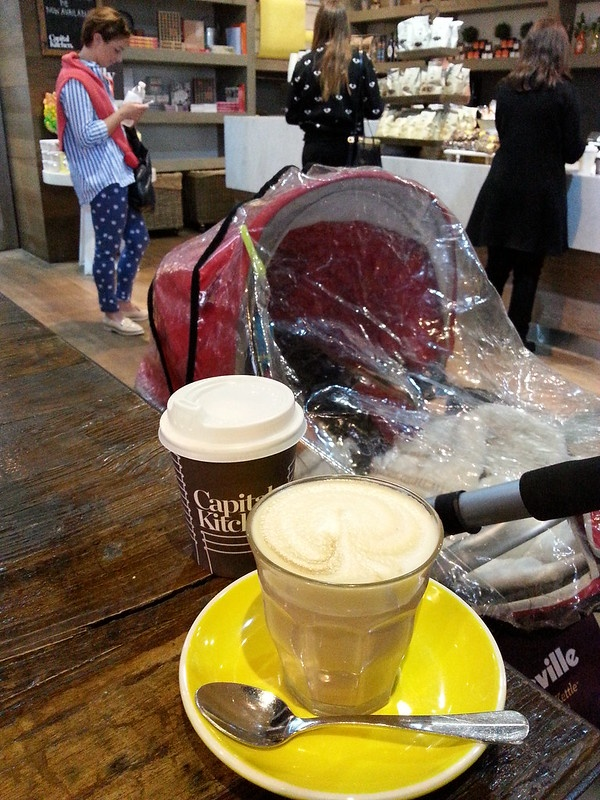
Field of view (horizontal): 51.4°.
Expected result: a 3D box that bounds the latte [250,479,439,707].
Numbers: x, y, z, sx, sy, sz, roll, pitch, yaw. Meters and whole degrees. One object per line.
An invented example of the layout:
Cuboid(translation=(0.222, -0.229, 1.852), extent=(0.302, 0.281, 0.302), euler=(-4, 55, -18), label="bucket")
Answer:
Cuboid(translation=(0.026, 0.123, 0.463), extent=(0.142, 0.145, 0.137), euler=(-9, 34, -11), label="latte")

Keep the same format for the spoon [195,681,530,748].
Cuboid(translation=(0.035, 0.199, 0.392), extent=(0.154, 0.021, 0.034), euler=(4, 17, -3), label="spoon")

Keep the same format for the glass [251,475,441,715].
Cuboid(translation=(0.028, 0.121, 0.461), extent=(0.143, 0.146, 0.138), euler=(-11, 34, -14), label="glass")

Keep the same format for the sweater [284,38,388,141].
Cuboid(translation=(0.183, -1.587, 3.449), extent=(0.671, 0.434, 0.611), euler=(-1, -20, -1), label="sweater")

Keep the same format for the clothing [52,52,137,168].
Cuboid(translation=(-0.961, -1.333, 2.907), extent=(0.353, 0.495, 0.247), euler=(-8, 24, -17), label="clothing")

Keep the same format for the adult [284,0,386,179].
Cuboid(translation=(0.171, -1.641, 3.277), extent=(0.537, 0.760, 0.389), euler=(3, 23, 8), label="adult")

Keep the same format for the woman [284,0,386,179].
Cuboid(translation=(0.171, -1.641, 3.277), extent=(0.537, 0.760, 0.389), euler=(3, 23, 8), label="woman")
